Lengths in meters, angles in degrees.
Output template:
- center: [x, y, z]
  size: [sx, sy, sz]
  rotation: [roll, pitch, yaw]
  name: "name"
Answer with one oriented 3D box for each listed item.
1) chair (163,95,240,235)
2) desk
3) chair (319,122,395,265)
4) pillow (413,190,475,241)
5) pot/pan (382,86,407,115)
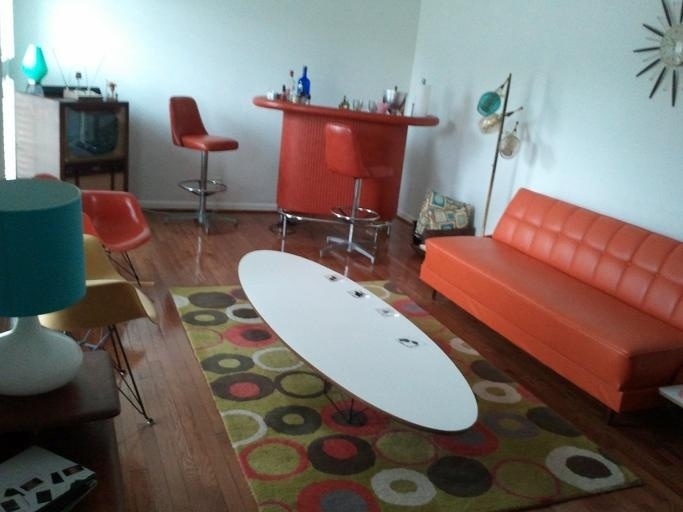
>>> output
- center: [-1.455, -1.007, 5.322]
  size: [0.626, 1.286, 0.950]
  rotation: [-4, 22, -17]
  name: "chair"
- center: [-0.073, -0.957, 5.835]
  size: [1.754, 1.253, 1.561]
  rotation: [4, 23, -6]
  name: "desk"
- center: [0.160, -0.660, 4.963]
  size: [0.688, 1.262, 0.801]
  rotation: [2, 21, -2]
  name: "chair"
- center: [1.069, -0.404, 5.167]
  size: [0.532, 0.127, 0.518]
  rotation: [21, 64, 3]
  name: "pillow"
- center: [0.543, -1.570, 5.139]
  size: [0.222, 0.234, 0.145]
  rotation: [2, 21, -2]
  name: "pot/pan"
